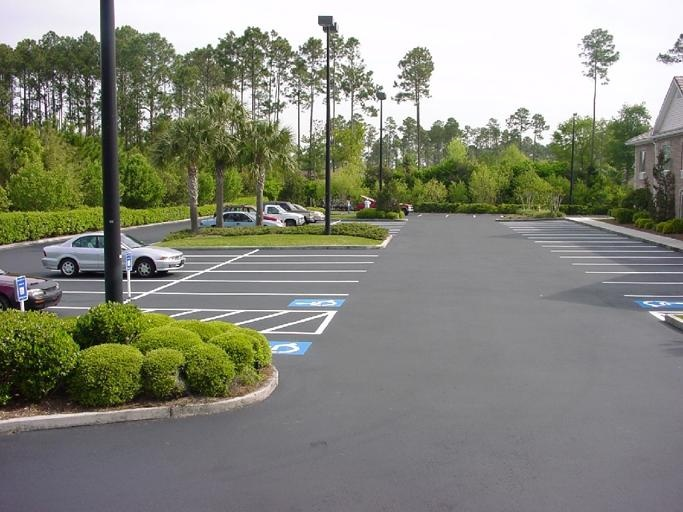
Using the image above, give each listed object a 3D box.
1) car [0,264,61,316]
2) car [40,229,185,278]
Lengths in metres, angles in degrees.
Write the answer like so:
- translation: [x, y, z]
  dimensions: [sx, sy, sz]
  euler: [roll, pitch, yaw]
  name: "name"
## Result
- translation: [-8.230, 0.974, 15.005]
  dimensions: [0.931, 1.089, 1.663]
  euler: [1, 8, 7]
  name: "car"
- translation: [-8.616, -0.065, 21.702]
  dimensions: [4.978, 1.621, 1.707]
  euler: [3, 8, 20]
  name: "car"
